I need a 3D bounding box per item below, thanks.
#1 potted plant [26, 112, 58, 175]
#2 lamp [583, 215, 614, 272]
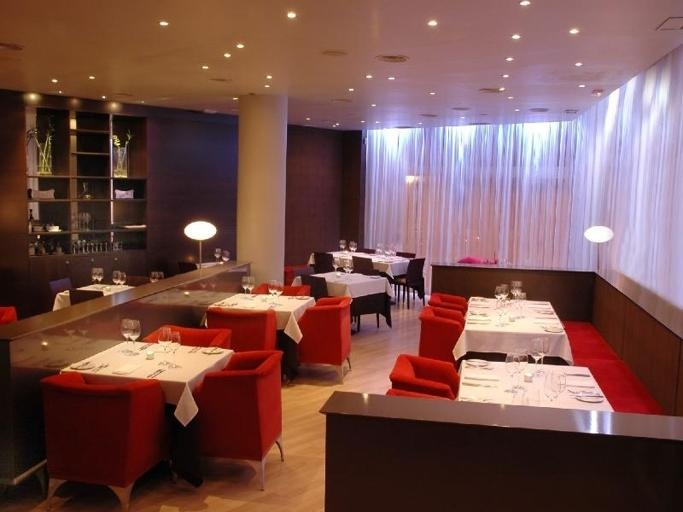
[{"bbox_3d":[-5.994,-2.206,10.398,0.501,1.113,0.176,-6,10,-32],"label":"potted plant"},{"bbox_3d":[4.344,-0.095,8.755,0.425,0.891,1.436,3,9,26],"label":"lamp"}]
